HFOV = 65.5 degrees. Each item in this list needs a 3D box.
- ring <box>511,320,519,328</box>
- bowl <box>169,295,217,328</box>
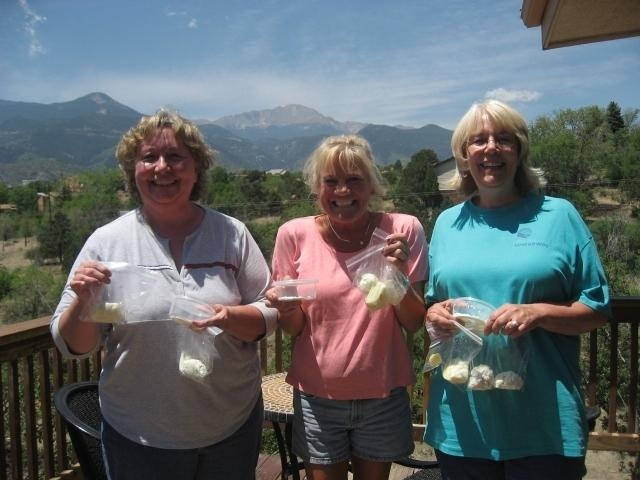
[{"bbox_3d":[0.866,0.372,2.215,0.031,0.032,0.018,3,14,34],"label":"ring"},{"bbox_3d":[-0.581,0.321,2.256,0.266,0.170,0.148,8,-5,-15],"label":"bowl"}]
